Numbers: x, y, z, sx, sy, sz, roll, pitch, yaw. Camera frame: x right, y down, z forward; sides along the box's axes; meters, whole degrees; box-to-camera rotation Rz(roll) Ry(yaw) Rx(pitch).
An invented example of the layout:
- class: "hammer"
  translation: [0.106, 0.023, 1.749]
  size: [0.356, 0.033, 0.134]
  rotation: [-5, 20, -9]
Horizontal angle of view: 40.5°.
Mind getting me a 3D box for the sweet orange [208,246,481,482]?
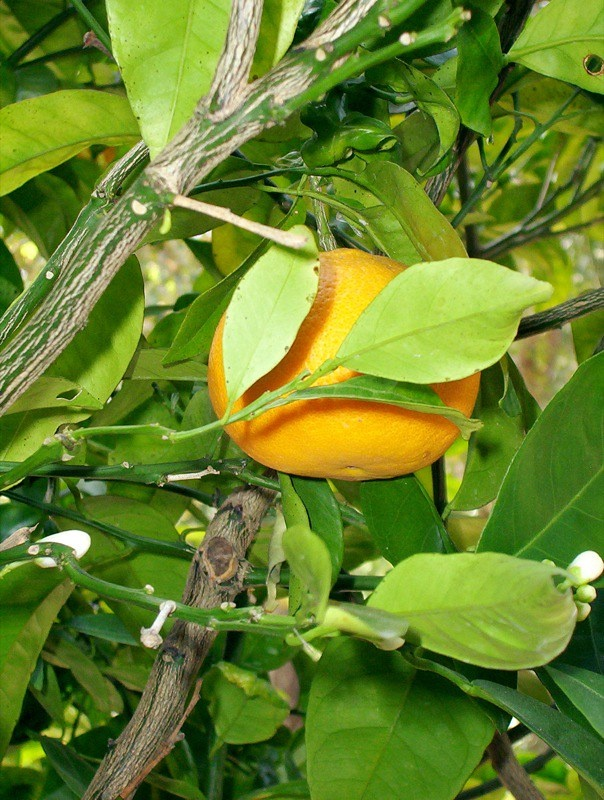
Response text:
- class: "sweet orange"
  translation: [0.017, -0.003, 0.416]
  size: [0.123, 0.112, 0.093]
  rotation: [6, 71, -5]
